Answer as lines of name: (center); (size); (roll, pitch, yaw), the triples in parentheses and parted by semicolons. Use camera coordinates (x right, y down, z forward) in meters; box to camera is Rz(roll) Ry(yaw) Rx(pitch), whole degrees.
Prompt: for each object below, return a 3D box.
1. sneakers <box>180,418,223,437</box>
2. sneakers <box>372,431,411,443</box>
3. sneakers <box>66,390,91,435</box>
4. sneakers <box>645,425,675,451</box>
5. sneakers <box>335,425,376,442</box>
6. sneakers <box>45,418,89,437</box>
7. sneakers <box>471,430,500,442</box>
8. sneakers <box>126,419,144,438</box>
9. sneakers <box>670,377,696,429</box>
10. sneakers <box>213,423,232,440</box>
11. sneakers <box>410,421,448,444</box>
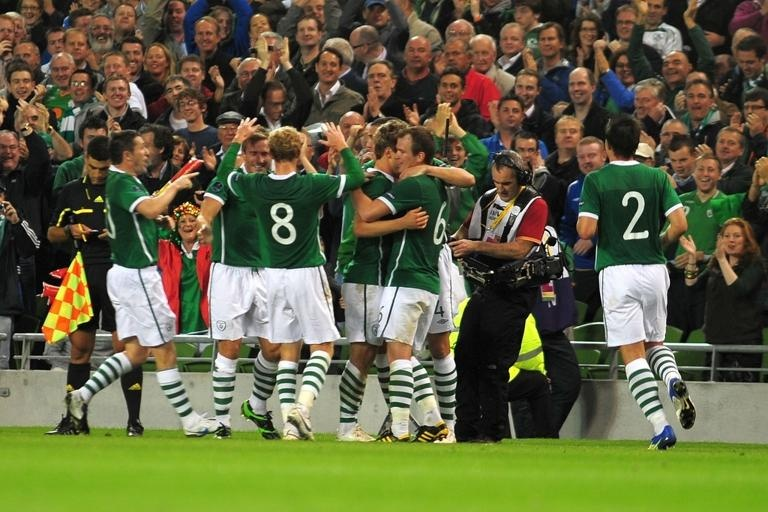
sneakers: (-2.093, 1.977, 15.615); (0.460, 0.206, 0.177); (-9, -22, 0)
sneakers: (0.078, 2.043, 15.250); (0.427, 0.177, 0.146); (0, 0, 34)
sneakers: (-3.525, 1.767, 15.740); (0.234, 0.530, 0.182); (-22, 16, -13)
sneakers: (3.021, 1.983, 14.838); (0.329, 0.205, 0.284); (-2, 1, -6)
sneakers: (-0.348, 2.003, 15.348); (0.504, 0.211, 0.166); (1, 0, -9)
sneakers: (-3.620, 1.973, 15.651); (0.564, 0.243, 0.186); (3, -5, -3)
sneakers: (1.155, 2.040, 15.377); (0.320, 0.096, 0.249); (-2, 1, -3)
sneakers: (-2.956, 2.038, 16.045); (0.119, 0.122, 0.280); (3, 5, 0)
sneakers: (3.207, 1.614, 14.838); (0.219, 0.577, 0.249); (-20, -7, -9)
sneakers: (-1.854, 2.007, 15.548); (0.194, 0.185, 0.132); (-5, 4, -4)
sneakers: (0.525, 1.992, 15.177); (0.445, 0.189, 0.159); (-8, -38, 11)
